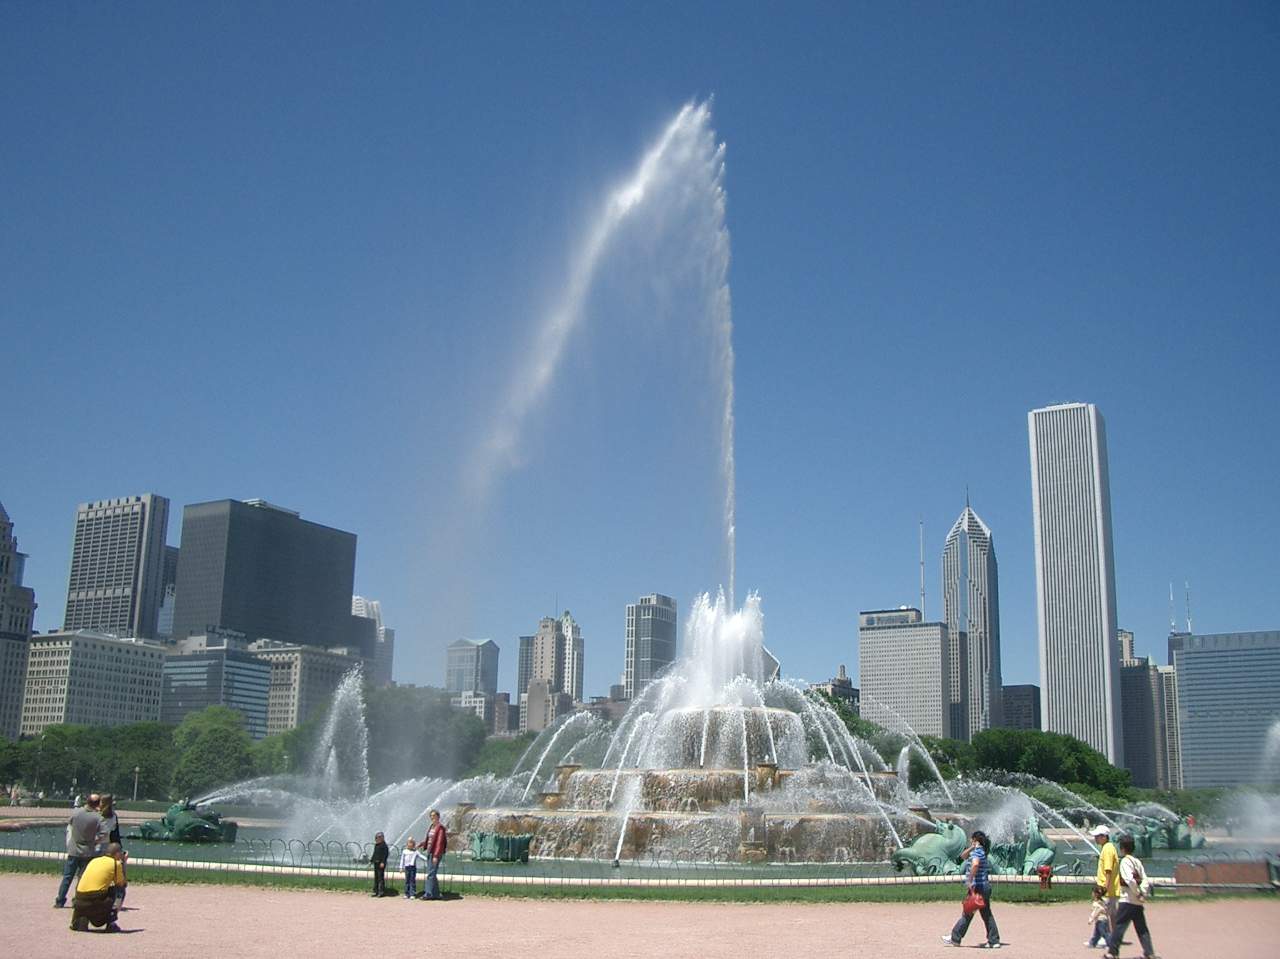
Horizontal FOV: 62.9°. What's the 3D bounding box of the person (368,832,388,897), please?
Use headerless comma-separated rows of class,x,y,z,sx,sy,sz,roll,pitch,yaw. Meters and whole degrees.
person,-6.382,9.390,25.726,0.323,1.356,1.965,3,-15,-12

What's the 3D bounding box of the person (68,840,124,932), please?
person,-9.756,7.471,18.881,0.753,1.250,0.697,8,-16,-30

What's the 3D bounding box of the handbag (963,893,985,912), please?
handbag,6.155,7.825,19.384,0.375,0.407,0.243,-13,-24,27
